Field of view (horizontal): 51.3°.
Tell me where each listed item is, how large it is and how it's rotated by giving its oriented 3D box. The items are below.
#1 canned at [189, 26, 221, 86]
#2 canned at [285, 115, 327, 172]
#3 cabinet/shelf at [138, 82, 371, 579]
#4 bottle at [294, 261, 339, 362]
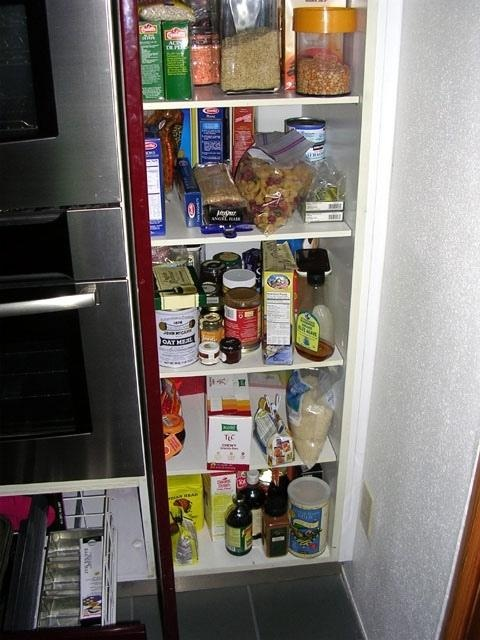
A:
[{"bbox_3d":[-0.072,-0.558,1.055,0.083,0.105,0.093,0,37,0],"label":"canned"},{"bbox_3d":[0.152,-0.424,1.190,0.095,0.104,0.149,9,25,24],"label":"canned"},{"bbox_3d":[0.028,0.090,1.340,0.499,1.301,0.497,-6,21,-11],"label":"cabinet/shelf"},{"bbox_3d":[0.193,-0.014,1.290,0.105,0.261,0.098,3,20,-1],"label":"bottle"}]
